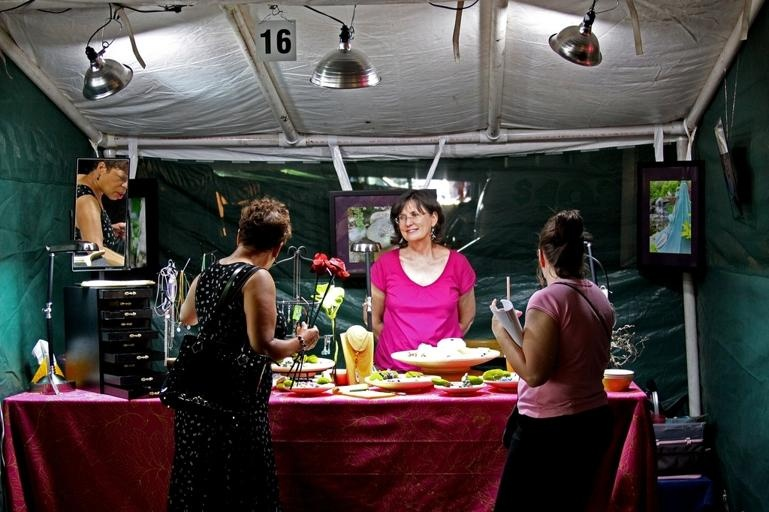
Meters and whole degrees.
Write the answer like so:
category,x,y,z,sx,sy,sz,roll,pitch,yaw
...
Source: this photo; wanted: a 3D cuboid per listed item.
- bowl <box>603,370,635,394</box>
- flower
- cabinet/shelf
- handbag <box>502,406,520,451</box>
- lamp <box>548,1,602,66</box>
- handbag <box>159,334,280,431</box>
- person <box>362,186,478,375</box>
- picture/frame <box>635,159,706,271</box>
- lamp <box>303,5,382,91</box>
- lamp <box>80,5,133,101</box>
category,x,y,z,sx,sy,sz,roll,pitch,yaw
bowl,1.393,0.753,3.809,0.205,0.105,0.222,0,3,0
flower,-0.387,0.310,3.789,0.196,0.544,0.181,5,-9,25
cabinet/shelf,-1.772,0.529,4.136,0.485,0.873,0.866,-1,2,-37
handbag,0.640,0.896,3.275,0.074,0.208,0.147,7,12,6
lamp,1.156,-1.365,3.900,0.291,0.392,0.236,-1,-3,19
handbag,-0.828,0.558,3.300,0.537,0.533,0.263,8,14,17
person,0.264,0.167,4.488,0.720,1.245,0.307,0,-3,0
picture/frame,2.175,-0.315,4.854,0.464,0.808,0.164,-1,-3,21
lamp,-0.252,-1.224,4.028,0.488,0.511,0.459,2,0,-18
lamp,-1.828,-1.294,4.223,0.307,0.476,0.662,1,-4,-23
